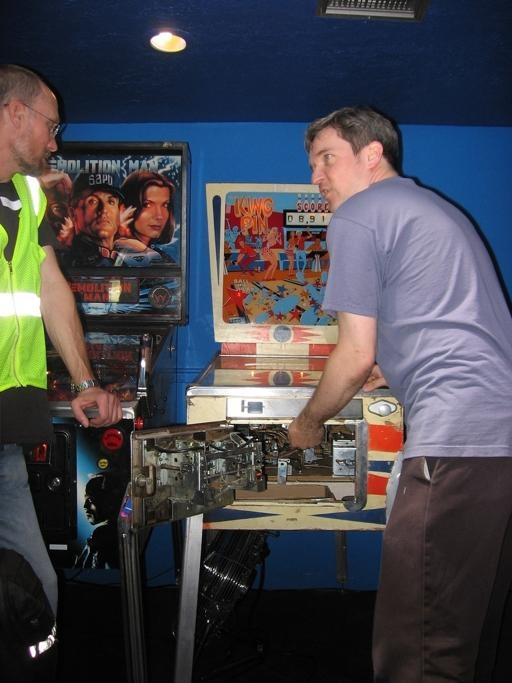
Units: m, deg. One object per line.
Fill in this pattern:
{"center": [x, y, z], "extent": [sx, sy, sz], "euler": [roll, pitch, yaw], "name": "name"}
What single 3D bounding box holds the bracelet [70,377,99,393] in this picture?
{"center": [-0.557, 0.140, 1.881], "extent": [0.085, 0.028, 0.079], "euler": [-18, 16, -21], "name": "bracelet"}
